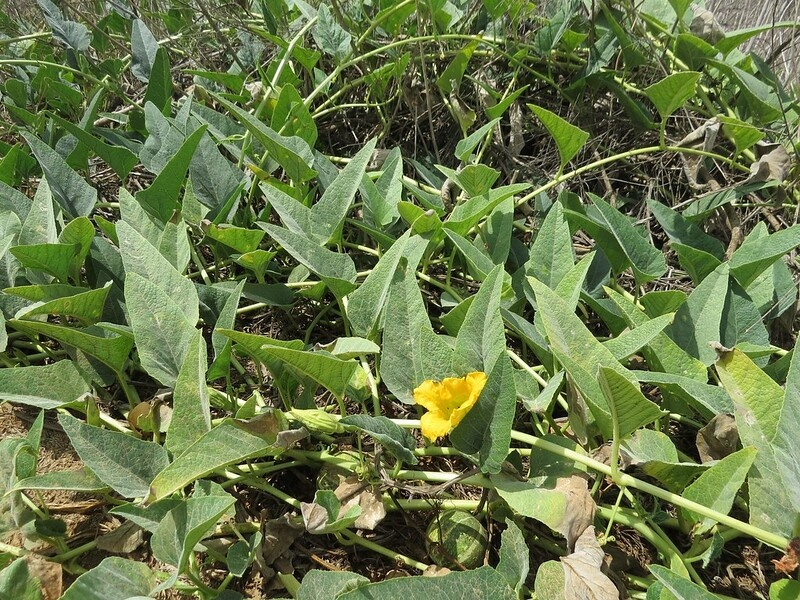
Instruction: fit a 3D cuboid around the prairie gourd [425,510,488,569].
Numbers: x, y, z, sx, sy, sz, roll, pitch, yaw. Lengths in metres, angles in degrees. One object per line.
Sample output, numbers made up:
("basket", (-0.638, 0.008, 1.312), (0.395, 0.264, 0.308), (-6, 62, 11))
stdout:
("prairie gourd", (0.138, 0.608, 1.925), (0.158, 0.103, 0.148), (10, 58, -3))
